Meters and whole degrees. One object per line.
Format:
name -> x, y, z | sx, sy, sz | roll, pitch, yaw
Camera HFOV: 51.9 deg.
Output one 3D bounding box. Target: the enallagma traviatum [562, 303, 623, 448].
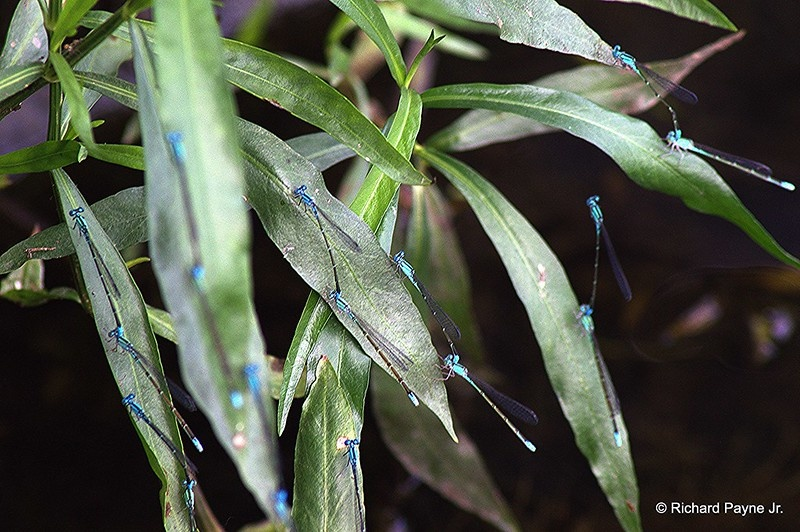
enallagma traviatum -> 0.313, 0.155, 1.289 | 0.052, 0.192, 0.159 | -8, 29, 12
